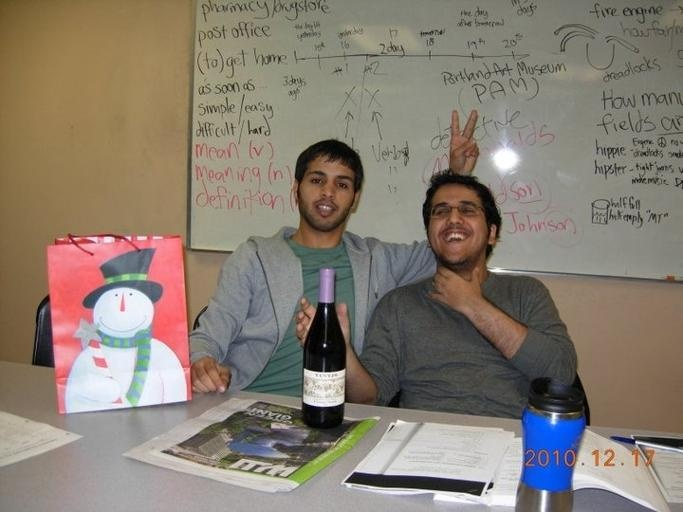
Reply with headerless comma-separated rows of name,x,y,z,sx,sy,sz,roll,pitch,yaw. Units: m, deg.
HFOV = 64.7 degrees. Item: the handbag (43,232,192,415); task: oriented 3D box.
handbag,-0.626,0.200,1.517,0.422,0.662,0.230,-3,0,-7
